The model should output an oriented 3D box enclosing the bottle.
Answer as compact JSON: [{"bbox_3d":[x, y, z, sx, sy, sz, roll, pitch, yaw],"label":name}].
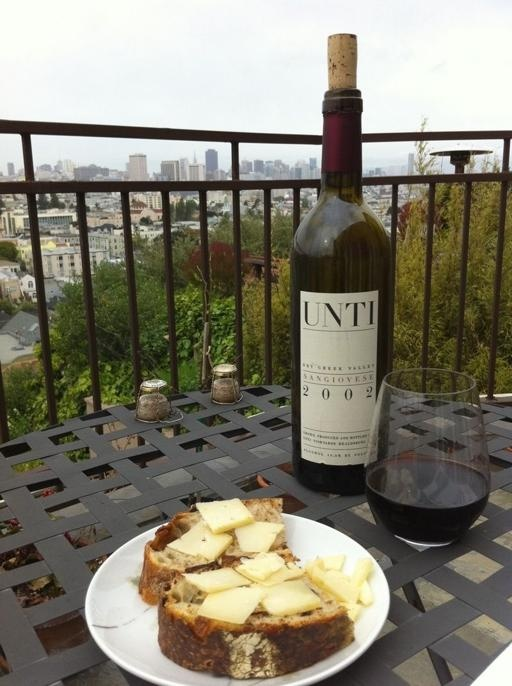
[{"bbox_3d":[0.070,-0.058,0.529,0.099,0.386,0.101,-1,13,0],"label":"bottle"}]

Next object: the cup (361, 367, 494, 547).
[{"bbox_3d":[0.135,0.096,0.420,0.078,0.142,0.073,-1,13,0],"label":"cup"}]
